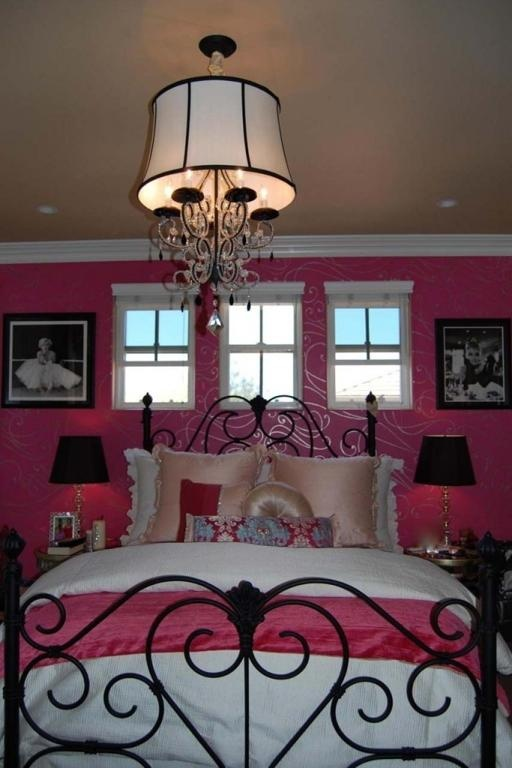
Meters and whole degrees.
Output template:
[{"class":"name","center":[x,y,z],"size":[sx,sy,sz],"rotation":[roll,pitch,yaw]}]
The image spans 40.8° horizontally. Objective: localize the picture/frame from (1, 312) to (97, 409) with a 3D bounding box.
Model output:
[{"class":"picture/frame","center":[-1.153,-0.114,3.909],"size":[0.566,0.572,0.041],"rotation":[0,-2,6]}]

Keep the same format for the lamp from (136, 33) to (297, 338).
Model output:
[{"class":"lamp","center":[-0.120,-0.606,2.070],"size":[0.467,0.874,0.469],"rotation":[0,-1,26]}]

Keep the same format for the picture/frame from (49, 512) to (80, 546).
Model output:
[{"class":"picture/frame","center":[-0.990,0.757,3.568],"size":[0.176,0.206,0.022],"rotation":[-3,-22,1]}]
